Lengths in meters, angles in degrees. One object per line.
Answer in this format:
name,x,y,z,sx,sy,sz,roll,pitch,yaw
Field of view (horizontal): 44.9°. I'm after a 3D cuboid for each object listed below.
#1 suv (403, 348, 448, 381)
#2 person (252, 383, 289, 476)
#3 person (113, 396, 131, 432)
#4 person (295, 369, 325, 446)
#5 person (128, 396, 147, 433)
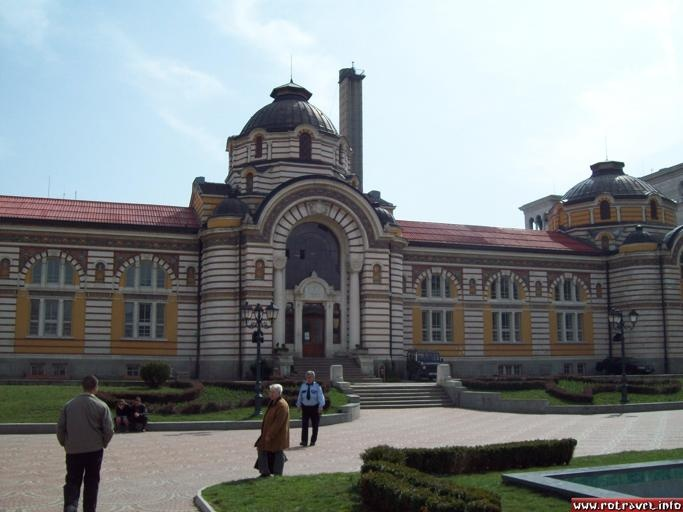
suv,4.634,6.195,46.248,1.305,1.162,2.038,3,-16,-14
person,-1.980,4.913,23.379,0.924,2.552,0.713,1,-10,-7
person,-8.449,6.170,31.809,0.524,1.162,0.516,2,-10,-16
person,-1.094,5.313,28.794,0.879,2.524,1.399,0,-10,-3
person,-7.940,6.200,32.013,0.758,1.392,0.820,-1,-51,-23
